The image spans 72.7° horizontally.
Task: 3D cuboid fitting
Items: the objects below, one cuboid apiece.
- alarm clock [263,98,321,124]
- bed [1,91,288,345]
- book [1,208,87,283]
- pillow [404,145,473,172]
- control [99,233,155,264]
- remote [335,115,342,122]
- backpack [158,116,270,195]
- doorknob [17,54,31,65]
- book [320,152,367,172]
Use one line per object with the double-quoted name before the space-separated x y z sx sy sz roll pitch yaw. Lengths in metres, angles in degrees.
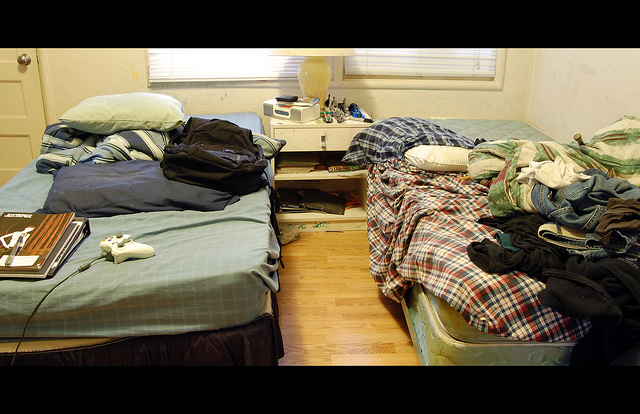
"alarm clock" -0.177 -0.643 2.907 0.370 0.094 0.215 23 34 39
"bed" -0.801 -0.042 1.901 1.181 0.862 1.144 -1 9 -12
"book" -0.957 0.159 1.530 0.283 0.056 0.242 4 32 1
"pillow" 0.578 -0.265 2.192 0.455 0.119 0.401 0 14 -7
"control" -0.679 0.139 1.523 0.146 0.046 0.123 20 20 40
"remote" 0.120 -0.575 2.825 0.015 0.046 0.059 -5 11 -30
"backpack" -0.484 -0.265 2.259 0.641 0.187 0.673 -4 27 -40
"doorknob" -2.031 -1.021 2.996 0.092 0.067 0.058 0 9 -5
"book" 0.151 -0.308 2.979 0.285 0.124 0.411 0 8 -3
